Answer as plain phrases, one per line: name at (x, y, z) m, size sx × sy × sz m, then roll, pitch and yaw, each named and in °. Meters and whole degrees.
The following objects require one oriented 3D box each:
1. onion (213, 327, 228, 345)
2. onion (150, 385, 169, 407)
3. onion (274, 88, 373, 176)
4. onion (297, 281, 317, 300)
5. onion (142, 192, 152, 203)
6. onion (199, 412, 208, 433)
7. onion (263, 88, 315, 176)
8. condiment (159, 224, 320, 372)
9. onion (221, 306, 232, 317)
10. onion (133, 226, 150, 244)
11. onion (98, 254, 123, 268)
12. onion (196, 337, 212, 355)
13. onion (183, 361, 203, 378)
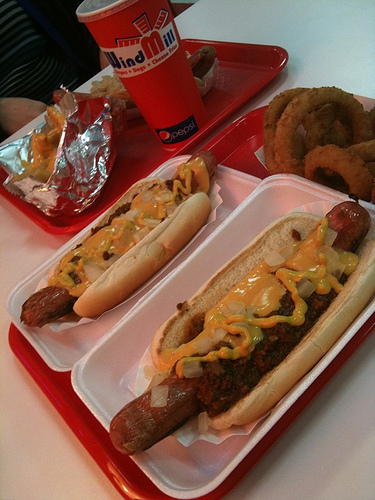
onion at (0.112, 0.287, 1.430) m, size 0.054 × 0.013 × 0.040 m, roll -34°, pitch 50°, yaw 8°
onion at (-0.084, 0.452, 1.310) m, size 0.052 × 0.033 × 0.081 m, roll -17°, pitch 42°, yaw 11°
onion at (0.600, -0.581, 1.997) m, size 0.411 × 0.121 × 0.382 m, roll 25°, pitch 97°, yaw -6°
onion at (0.412, 0.138, 1.451) m, size 0.034 × 0.059 × 0.034 m, roll -44°, pitch 80°, yaw -1°
onion at (-0.201, -0.262, 2.112) m, size 0.049 × 0.013 × 0.045 m, roll -16°, pitch 81°, yaw -18°
onion at (0.054, 0.559, 1.372) m, size 0.040 × 0.045 × 0.050 m, roll -2°, pitch 55°, yaw 19°
onion at (0.488, -0.560, 2.061) m, size 0.303 × 0.097 × 0.336 m, roll 5°, pitch 89°, yaw 27°
condiment at (0.203, 0.187, 1.546) m, size 0.638 × 0.171 × 0.165 m, roll -39°, pitch 42°, yaw -11°
onion at (0.140, 0.215, 1.474) m, size 0.021 × 0.018 × 0.035 m, roll -35°, pitch 17°, yaw 5°
onion at (-0.215, -0.072, 1.993) m, size 0.046 × 0.020 × 0.084 m, roll 44°, pitch 74°, yaw 11°
onion at (-0.356, 0.050, 1.962) m, size 0.098 × 0.022 × 0.058 m, roll -30°, pitch 56°, yaw -28°
onion at (0.047, 0.323, 1.424) m, size 0.042 × 0.018 × 0.053 m, roll 0°, pitch 52°, yaw 8°
onion at (0.020, 0.386, 1.369) m, size 0.056 × 0.040 × 0.049 m, roll -21°, pitch 42°, yaw 6°
